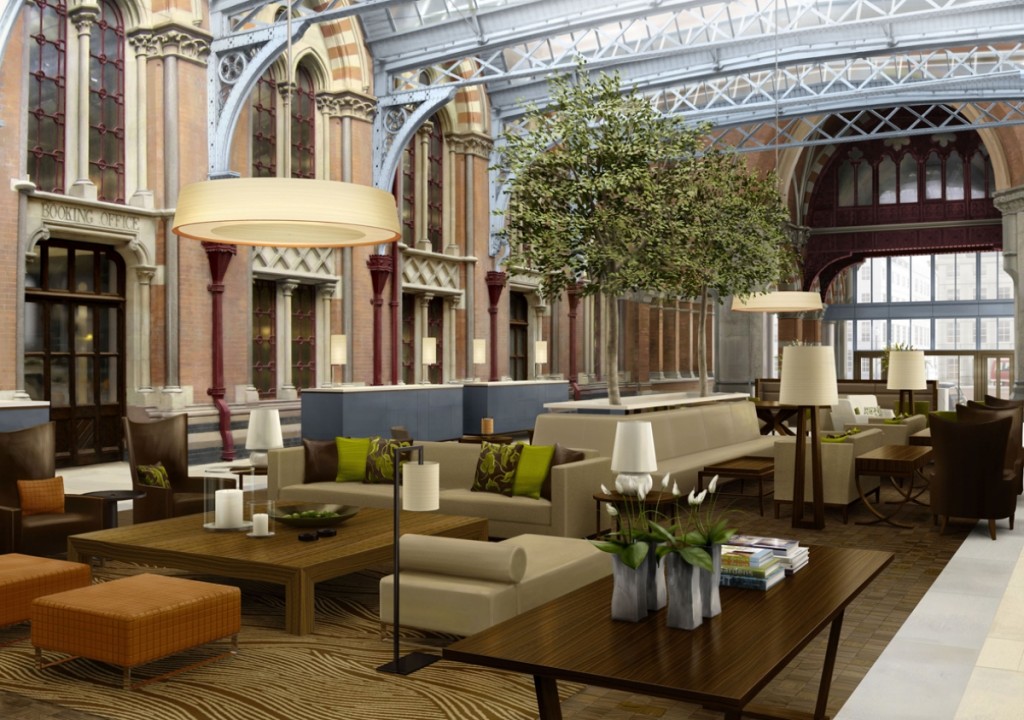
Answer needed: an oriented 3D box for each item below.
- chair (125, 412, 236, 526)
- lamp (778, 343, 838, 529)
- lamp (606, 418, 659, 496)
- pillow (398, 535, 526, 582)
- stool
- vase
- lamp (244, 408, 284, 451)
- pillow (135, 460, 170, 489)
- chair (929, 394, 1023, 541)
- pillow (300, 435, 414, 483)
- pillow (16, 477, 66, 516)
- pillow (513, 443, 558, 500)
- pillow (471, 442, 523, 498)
[{"bbox_3d":[-3.517,1.328,9.466,1.006,1.275,0.995,-1,6,-36],"label":"chair"},{"bbox_3d":[3.293,0.843,9.892,0.568,2.045,1.129,0,1,19],"label":"lamp"},{"bbox_3d":[1.117,0.879,8.199,0.606,0.904,0.656,-1,-1,8],"label":"lamp"},{"bbox_3d":[-0.346,1.407,6.422,0.738,0.304,0.284,-1,-5,21],"label":"pillow"},{"bbox_3d":[-2.664,1.746,6.149,0.782,0.390,0.845,-1,-2,31],"label":"stool"},{"bbox_3d":[0.890,1.163,5.063,0.556,0.418,0.441,-1,-1,34],"label":"vase"},{"bbox_3d":[-2.404,0.678,8.659,0.342,0.399,0.374,-7,-8,18],"label":"lamp"},{"bbox_3d":[-3.748,1.188,9.313,0.280,0.285,0.097,1,-11,-4],"label":"pillow"},{"bbox_3d":[5.001,1.127,9.841,1.191,1.801,1.455,2,0,32],"label":"chair"},{"bbox_3d":[-1.708,1.264,10.014,1.075,0.331,0.960,-2,33,9],"label":"pillow"},{"bbox_3d":[-4.532,1.300,8.557,0.305,0.297,0.114,6,-25,-36],"label":"pillow"},{"bbox_3d":[0.257,1.129,9.205,0.457,0.482,0.174,-2,-24,36],"label":"pillow"},{"bbox_3d":[-0.143,1.152,9.318,0.455,0.489,0.180,2,-18,41],"label":"pillow"}]
